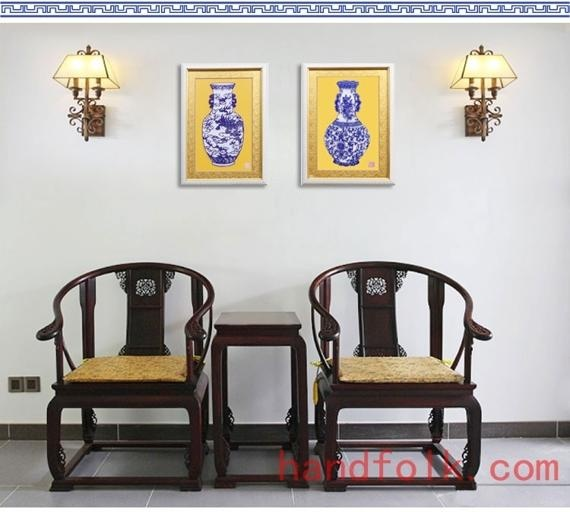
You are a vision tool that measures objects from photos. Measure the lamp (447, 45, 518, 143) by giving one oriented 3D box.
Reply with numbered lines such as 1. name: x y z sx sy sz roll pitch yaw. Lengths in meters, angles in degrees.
1. lamp: 1.041 -0.856 3.524 0.339 0.494 0.268 2 7 16

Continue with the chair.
1. chair: -0.074 0.558 3.279 2.008 1.008 0.586 0 7 1

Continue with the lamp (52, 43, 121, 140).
1. lamp: -1.031 -0.858 3.508 0.337 0.500 0.260 -3 7 -18
